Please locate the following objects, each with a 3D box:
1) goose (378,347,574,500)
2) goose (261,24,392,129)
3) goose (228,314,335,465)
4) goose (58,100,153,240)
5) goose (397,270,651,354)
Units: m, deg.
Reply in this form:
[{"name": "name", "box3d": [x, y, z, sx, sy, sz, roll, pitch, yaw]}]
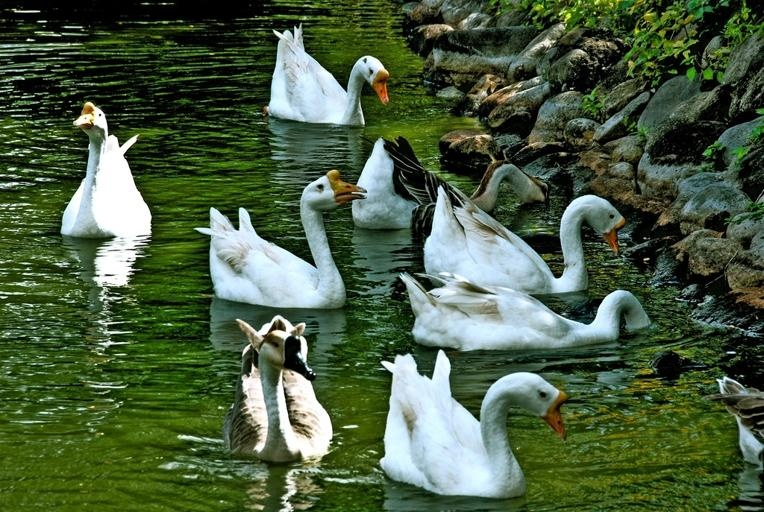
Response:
[{"name": "goose", "box3d": [0.882, 1.889, 12.782, 1.927, 1.292, 0.936, 7, 21, 14]}, {"name": "goose", "box3d": [-1.240, -3.728, 25.280, 1.562, 2.031, 3.532, -13, 37, -38]}, {"name": "goose", "box3d": [-1.167, 1.620, 13.463, 0.948, 1.541, 3.352, 3, 0, -7]}, {"name": "goose", "box3d": [-4.284, -1.384, 18.326, 1.207, 2.073, 1.307, 11, 22, 18]}, {"name": "goose", "box3d": [1.648, 0.731, 15.583, 3.836, 0.852, 1.054, 4, 10, 2]}]
